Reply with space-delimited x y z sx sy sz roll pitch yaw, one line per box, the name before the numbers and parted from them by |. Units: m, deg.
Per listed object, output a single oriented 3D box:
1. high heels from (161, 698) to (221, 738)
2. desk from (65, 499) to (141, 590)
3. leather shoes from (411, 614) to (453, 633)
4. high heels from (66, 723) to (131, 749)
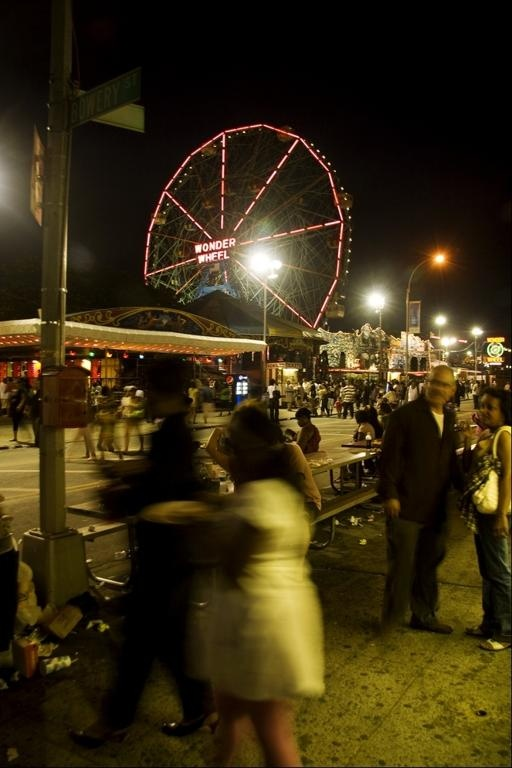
high heels | -0.312 1.664 2.954 0.292 0.127 0.097 13 -12 -19
desk | -1.176 1.266 4.588 0.485 0.279 1.142 -3 8 -37
leather shoes | 1.202 1.663 4.115 0.267 0.197 0.101 -6 -8 15
high heels | -0.723 1.640 2.776 0.338 0.084 0.094 -13 -12 30
